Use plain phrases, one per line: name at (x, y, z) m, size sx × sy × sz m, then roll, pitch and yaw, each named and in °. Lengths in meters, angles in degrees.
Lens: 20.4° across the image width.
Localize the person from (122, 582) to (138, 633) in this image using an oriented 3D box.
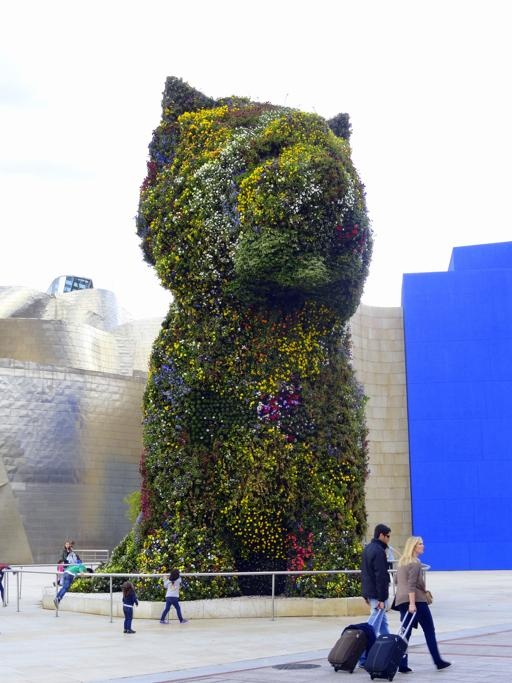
person at (-2.167, 4.631, 24.575) m, size 0.291 × 0.855 × 0.759 m, roll -10°, pitch -7°, yaw -3°

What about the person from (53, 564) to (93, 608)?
person at (-3.636, 4.888, 28.318) m, size 0.730 × 0.765 × 2.135 m, roll -9°, pitch -7°, yaw -9°

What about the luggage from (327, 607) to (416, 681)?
luggage at (1.691, 4.500, 20.536) m, size 1.099 × 0.562 × 0.807 m, roll -15°, pitch -8°, yaw 38°

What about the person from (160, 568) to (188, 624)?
person at (-1.524, 4.663, 25.741) m, size 0.493 × 0.981 × 1.036 m, roll -10°, pitch -7°, yaw -4°

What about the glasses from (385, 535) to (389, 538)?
glasses at (1.959, 2.923, 21.199) m, size 0.038 × 0.051 × 0.023 m, roll -10°, pitch -6°, yaw 37°
